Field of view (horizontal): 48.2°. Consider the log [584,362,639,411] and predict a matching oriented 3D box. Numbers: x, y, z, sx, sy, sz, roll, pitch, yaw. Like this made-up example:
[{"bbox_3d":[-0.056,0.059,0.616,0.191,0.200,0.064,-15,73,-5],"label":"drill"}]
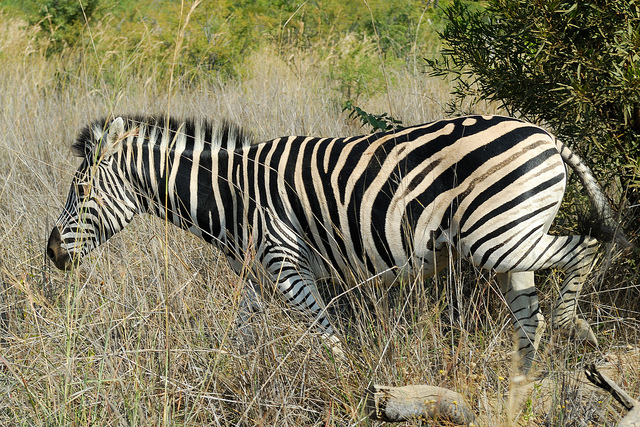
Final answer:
[{"bbox_3d":[1.804,1.082,4.430,0.104,0.119,0.378,-35,59,-25],"label":"log"}]
